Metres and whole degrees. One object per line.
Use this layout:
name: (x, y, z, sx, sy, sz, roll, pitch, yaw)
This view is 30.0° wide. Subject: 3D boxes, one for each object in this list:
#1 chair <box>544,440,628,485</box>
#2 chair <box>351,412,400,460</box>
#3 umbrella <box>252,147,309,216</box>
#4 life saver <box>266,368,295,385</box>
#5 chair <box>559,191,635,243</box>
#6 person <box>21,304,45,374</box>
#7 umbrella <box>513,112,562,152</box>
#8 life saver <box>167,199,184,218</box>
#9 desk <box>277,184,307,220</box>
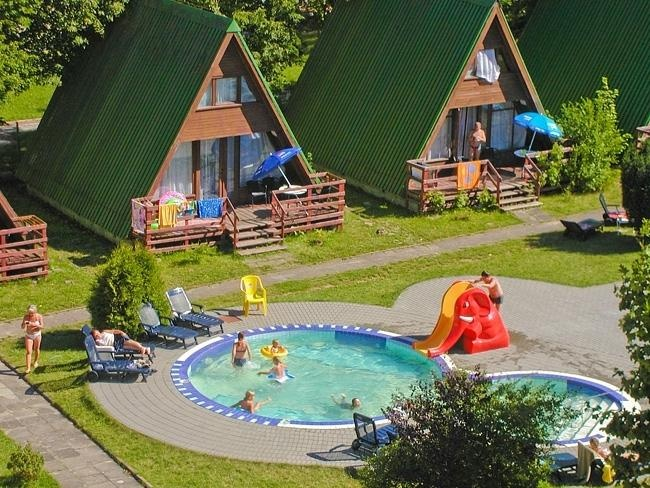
chair: (7.216, 6.250, 34.214, 1.929, 0.761, 1.330, -1, 3, -27)
chair: (1.477, 5.550, 35.328, 0.875, 1.082, 1.404, 16, 25, 41)
umbrella: (-1.937, -3.312, 47.853, 1.652, 1.494, 1.655, -42, 13, -13)
life saver: (-1.427, 4.081, 38.672, 0.825, 0.605, 0.504, 0, 9, -12)
chair: (11.004, -0.931, 49.278, 2.738, 1.425, 1.658, -11, 14, -24)
person: (-9.317, 3.017, 38.741, 0.660, 2.144, 0.842, 0, 0, -2)
umbrella: (9.176, -5.128, 52.179, 1.977, 1.018, 1.730, 5, 10, 12)
life saver: (-5.714, -1.387, 46.502, 0.662, 0.626, 1.367, 1, 10, -5)
desk: (-1.336, -1.896, 49.000, 1.080, 1.390, 1.150, -4, 27, -5)
